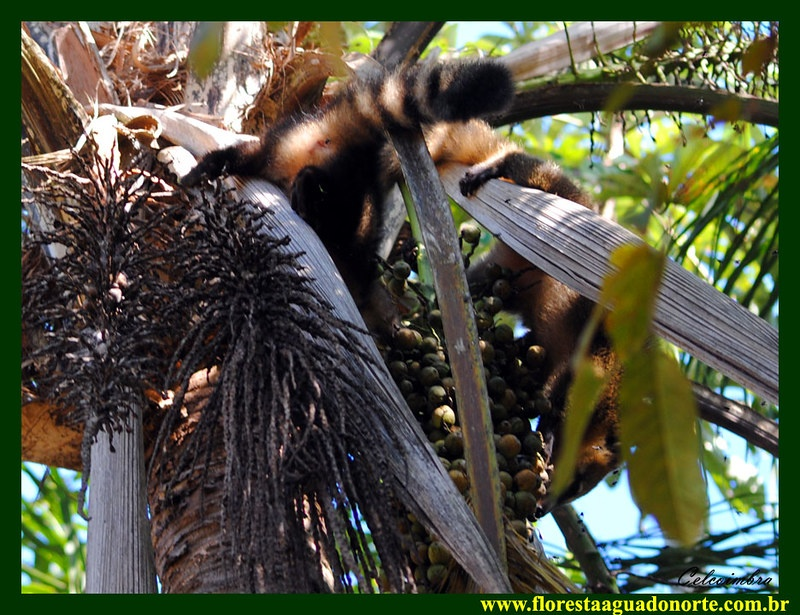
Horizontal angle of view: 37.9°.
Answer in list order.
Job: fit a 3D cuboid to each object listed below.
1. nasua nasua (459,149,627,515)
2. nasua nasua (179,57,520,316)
[{"bbox_3d":[0.491,-0.078,4.137,0.629,1.496,0.406,-2,-2,-5],"label":"nasua nasua"},{"bbox_3d":[-0.323,-0.369,4.108,1.586,0.797,0.517,-5,-16,25],"label":"nasua nasua"}]
